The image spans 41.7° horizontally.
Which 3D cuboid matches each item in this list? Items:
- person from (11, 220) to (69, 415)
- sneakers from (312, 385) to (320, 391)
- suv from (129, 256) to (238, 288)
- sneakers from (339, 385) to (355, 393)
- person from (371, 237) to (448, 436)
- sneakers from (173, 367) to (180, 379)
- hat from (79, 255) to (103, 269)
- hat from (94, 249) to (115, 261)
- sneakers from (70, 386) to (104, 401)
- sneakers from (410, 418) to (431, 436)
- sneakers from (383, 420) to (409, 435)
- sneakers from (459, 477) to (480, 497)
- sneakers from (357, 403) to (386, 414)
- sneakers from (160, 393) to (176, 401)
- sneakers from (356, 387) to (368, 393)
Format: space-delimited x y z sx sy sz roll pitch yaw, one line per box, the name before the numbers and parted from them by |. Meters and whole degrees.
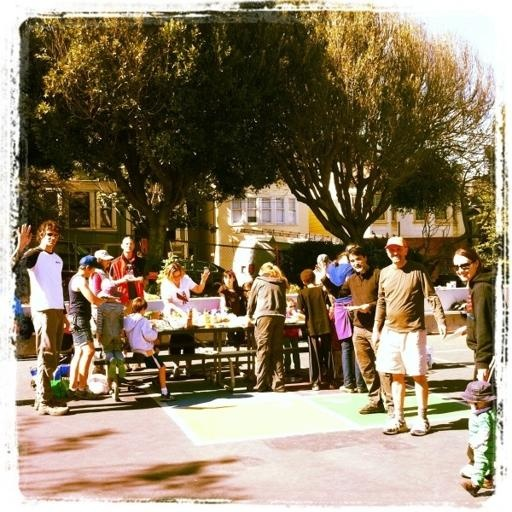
person | -2.741 0.812 8.719 0.476 2.509 0.698 -2 -4 8
sneakers | 0.901 1.985 10.159 0.116 0.102 0.140 -3 -5 5
suv | -2.381 0.433 22.287 2.574 1.170 1.370 -2 1 -9
sneakers | 1.343 1.945 9.919 0.226 0.128 0.087 6 6 37
person | 1.734 0.886 7.689 0.757 2.264 0.951 -3 -4 10
sneakers | -1.391 2.021 11.657 0.120 0.175 0.139 -1 0 1
hat | -2.321 0.117 9.420 0.259 0.179 0.160 -6 13 -44
hat | -2.294 0.001 10.121 0.285 0.211 0.195 4 6 40
sneakers | -2.472 2.001 9.790 0.441 0.256 0.168 2 5 -16
sneakers | 1.849 1.910 7.598 0.227 0.203 0.249 -4 -5 11
sneakers | 1.595 1.935 7.698 0.131 0.188 0.334 2 6 42
sneakers | 1.843 1.988 5.794 0.120 0.061 0.114 24 3 -11
sneakers | 1.491 1.960 8.687 0.364 0.202 0.138 3 1 -13
sneakers | -1.268 2.004 9.639 0.185 0.169 0.090 -3 3 -4
sneakers | 1.543 1.934 9.848 0.124 0.060 0.085 -6 8 -25
